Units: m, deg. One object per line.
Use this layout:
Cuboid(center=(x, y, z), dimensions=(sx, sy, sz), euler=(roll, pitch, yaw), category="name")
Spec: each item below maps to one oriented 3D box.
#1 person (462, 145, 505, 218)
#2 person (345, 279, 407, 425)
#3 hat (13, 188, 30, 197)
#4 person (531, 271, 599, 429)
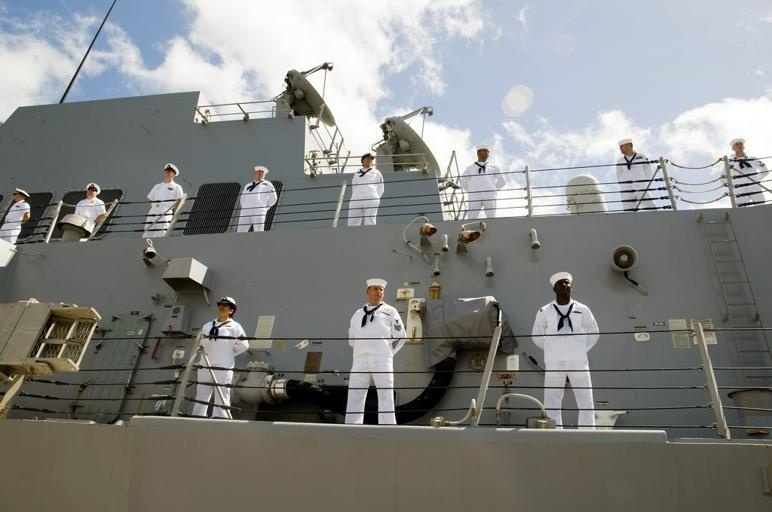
Cuboid(center=(1.529, -1.177, 10.411), dimensions=(0.696, 1.283, 0.513), euler=(-5, -25, 19), category="person")
Cuboid(center=(-0.125, 1.044, 7.630), dimensions=(0.713, 1.886, 0.896), euler=(-2, -24, 12), category="person")
Cuboid(center=(-6.666, -1.177, 11.957), dimensions=(0.213, 0.093, 0.233), euler=(25, 10, 20), category="hat")
Cuboid(center=(2.068, 0.996, 7.476), dimensions=(0.734, 2.026, 1.020), euler=(2, -24, 4), category="person")
